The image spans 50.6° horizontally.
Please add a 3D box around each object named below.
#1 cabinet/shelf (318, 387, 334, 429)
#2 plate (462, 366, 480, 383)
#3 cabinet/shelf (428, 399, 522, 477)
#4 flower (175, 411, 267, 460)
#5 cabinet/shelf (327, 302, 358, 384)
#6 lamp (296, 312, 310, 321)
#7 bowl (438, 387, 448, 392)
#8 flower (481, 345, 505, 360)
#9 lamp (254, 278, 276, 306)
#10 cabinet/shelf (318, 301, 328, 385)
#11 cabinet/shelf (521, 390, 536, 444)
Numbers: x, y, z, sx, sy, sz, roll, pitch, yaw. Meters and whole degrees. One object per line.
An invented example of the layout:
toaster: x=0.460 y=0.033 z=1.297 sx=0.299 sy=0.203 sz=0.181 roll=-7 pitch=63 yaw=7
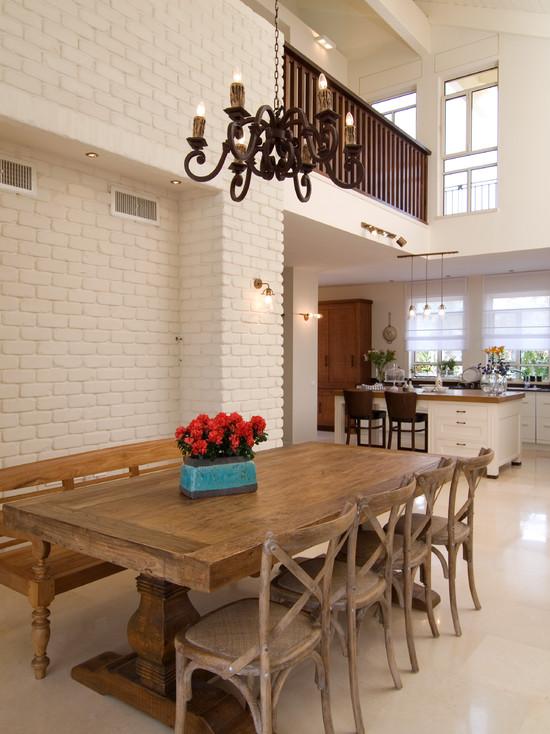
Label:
cabinet/shelf: x=0.860 y=0.744 z=9.990 sx=0.280 sy=0.706 sz=0.217 roll=0 pitch=2 yaw=12
plate: x=3.064 y=0.127 z=9.087 sx=0.169 sy=0.251 sz=0.394 roll=-1 pitch=2 yaw=-22
cabinet/shelf: x=2.228 y=0.694 z=6.855 sx=1.096 sy=1.067 sz=1.042 roll=-2 pitch=-3 yaw=41
flower: x=-0.221 y=0.258 z=2.178 sx=0.243 sy=0.141 sz=0.215 roll=-4 pitch=4 yaw=-44
cabinet/shelf: x=1.156 y=-0.382 z=9.981 sx=0.665 sy=1.494 sz=0.200 roll=1 pitch=3 yaw=42
lamp: x=0.416 y=-0.691 z=8.091 sx=0.068 sy=0.133 sz=0.320 roll=1 pitch=2 yaw=32
bowl: x=2.002 y=0.275 z=6.897 sx=0.181 sy=0.044 sz=0.123 roll=-2 pitch=2 yaw=-38
flower: x=3.040 y=-0.196 z=8.091 sx=0.251 sy=0.251 sz=0.213 roll=1 pitch=7 yaw=-1
lamp: x=-0.077 y=-0.562 z=4.360 sx=0.068 sy=0.200 sz=0.262 roll=1 pitch=2 yaw=27
cabinet/shelf: x=0.839 y=-0.385 z=10.213 sx=0.186 sy=1.525 sz=0.281 roll=0 pitch=2 yaw=4
cabinet/shelf: x=3.481 y=0.710 z=7.993 sx=0.174 sy=0.738 sz=0.207 roll=0 pitch=3 yaw=23
